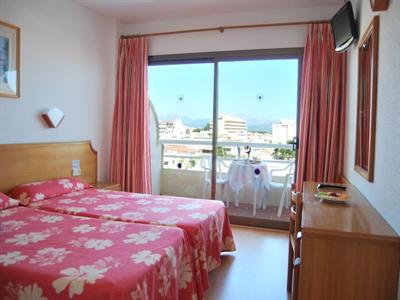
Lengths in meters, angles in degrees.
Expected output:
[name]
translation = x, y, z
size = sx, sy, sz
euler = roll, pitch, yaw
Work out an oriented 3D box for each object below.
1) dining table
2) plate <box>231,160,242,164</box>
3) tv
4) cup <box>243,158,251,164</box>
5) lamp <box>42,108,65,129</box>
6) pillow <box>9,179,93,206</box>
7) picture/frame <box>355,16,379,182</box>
[dining table]
translation = 0.791, 0.523, 4.718
size = 0.656, 0.845, 0.688
euler = 1, 0, 25
[plate]
translation = 0.579, 0.187, 4.425
size = 0.143, 0.057, 0.051
euler = 0, 7, 13
[tv]
translation = 1.640, -1.362, 3.247
size = 0.257, 0.421, 0.732
euler = 4, 9, 20
[cup]
translation = 0.716, 0.177, 4.392
size = 0.070, 0.058, 0.070
euler = 2, 0, 0
[lamp]
translation = -1.938, -0.408, 3.746
size = 0.105, 0.250, 0.257
euler = 4, 9, 20
[pillow]
translation = -1.838, 0.472, 3.530
size = 0.346, 0.191, 0.851
euler = 6, 10, 29
[picture/frame]
translation = 1.578, -0.457, 2.713
size = 0.099, 1.401, 0.807
euler = 4, 8, 20
